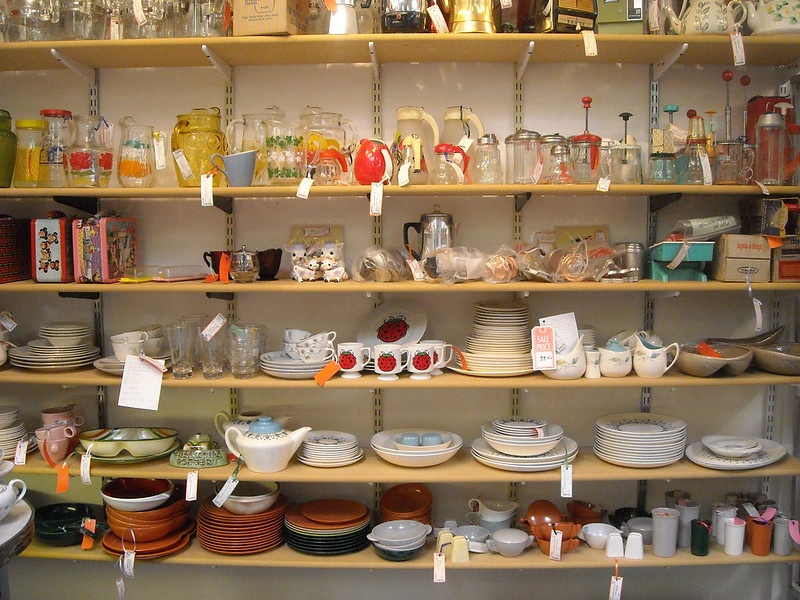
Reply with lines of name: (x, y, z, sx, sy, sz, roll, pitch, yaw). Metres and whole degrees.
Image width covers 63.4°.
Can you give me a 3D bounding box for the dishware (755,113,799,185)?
dishware: (1.621, -0.638, 2.770, 0.240, 0.299, 0.085, -2, 5, -19)
